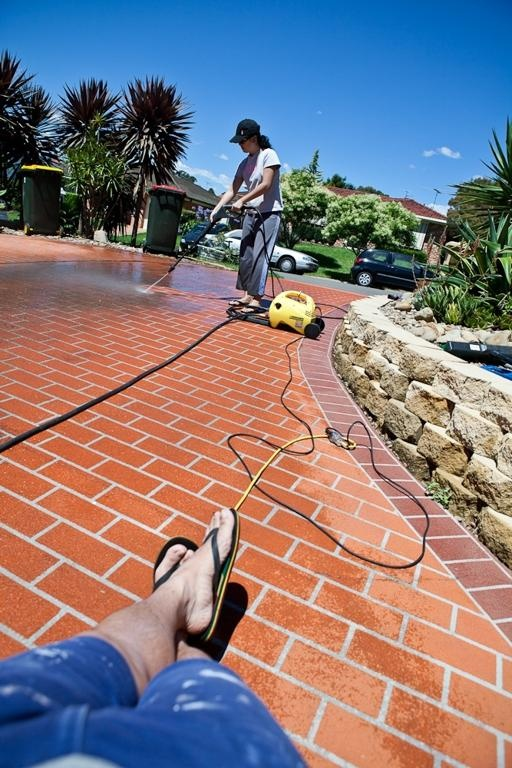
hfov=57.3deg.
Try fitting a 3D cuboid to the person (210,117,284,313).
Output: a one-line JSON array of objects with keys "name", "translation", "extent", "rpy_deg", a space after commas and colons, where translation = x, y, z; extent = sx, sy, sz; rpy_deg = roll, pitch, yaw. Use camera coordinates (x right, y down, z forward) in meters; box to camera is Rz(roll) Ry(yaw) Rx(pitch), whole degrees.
[{"name": "person", "translation": [-0.078, -1.931, 5.308], "extent": [0.681, 1.401, 1.234], "rpy_deg": [7, -14, -3]}]

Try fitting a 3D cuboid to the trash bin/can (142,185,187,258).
[{"name": "trash bin/can", "translation": [-2.073, -3.785, 10.310], "extent": [0.761, 1.326, 1.455], "rpy_deg": [10, -14, -14]}]
